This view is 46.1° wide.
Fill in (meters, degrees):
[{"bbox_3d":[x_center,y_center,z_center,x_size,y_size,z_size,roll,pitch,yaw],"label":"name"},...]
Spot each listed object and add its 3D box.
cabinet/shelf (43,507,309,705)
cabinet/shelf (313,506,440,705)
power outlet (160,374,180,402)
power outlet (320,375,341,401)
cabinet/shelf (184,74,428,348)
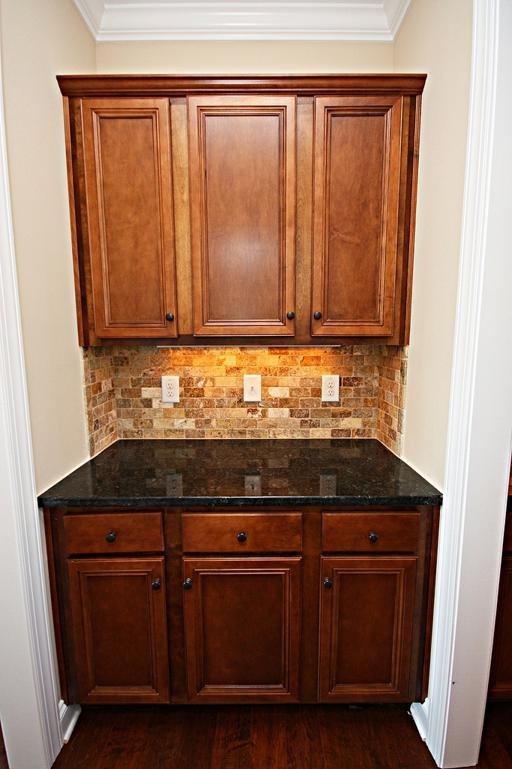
[{"bbox_3d":[-0.265,0.660,1.865,0.552,0.522,0.246,-1,3,-2],"label":"cabinet/shelf"},{"bbox_3d":[0.363,0.656,2.016,0.354,0.679,0.335,-1,12,-5],"label":"cabinet/shelf"},{"bbox_3d":[-0.342,0.010,2.389,0.094,0.167,0.017,0,5,-3],"label":"power outlet"},{"bbox_3d":[0.291,0.010,2.388,0.089,0.140,0.014,0,4,-3],"label":"power outlet"},{"bbox_3d":[0.174,-0.615,1.994,0.791,0.973,0.358,0,8,-1],"label":"cabinet/shelf"}]
